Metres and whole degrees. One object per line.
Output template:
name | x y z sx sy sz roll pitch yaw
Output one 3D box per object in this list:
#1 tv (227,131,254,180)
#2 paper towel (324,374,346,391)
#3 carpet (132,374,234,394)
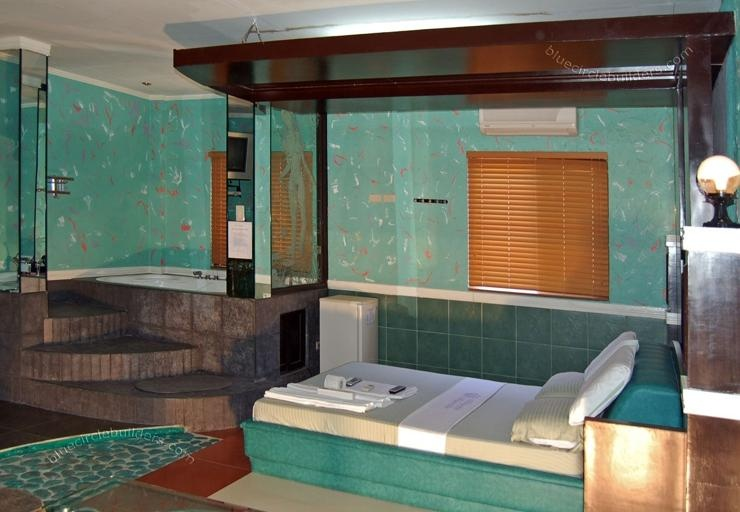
tv | -1.589 -1.137 6.954 0.402 0.532 0.370 -2 9 -33
paper towel | -0.323 1.146 5.707 0.122 0.105 0.160 0 -1 20
carpet | -1.998 1.373 6.626 1.009 0.039 0.613 -2 5 -9
